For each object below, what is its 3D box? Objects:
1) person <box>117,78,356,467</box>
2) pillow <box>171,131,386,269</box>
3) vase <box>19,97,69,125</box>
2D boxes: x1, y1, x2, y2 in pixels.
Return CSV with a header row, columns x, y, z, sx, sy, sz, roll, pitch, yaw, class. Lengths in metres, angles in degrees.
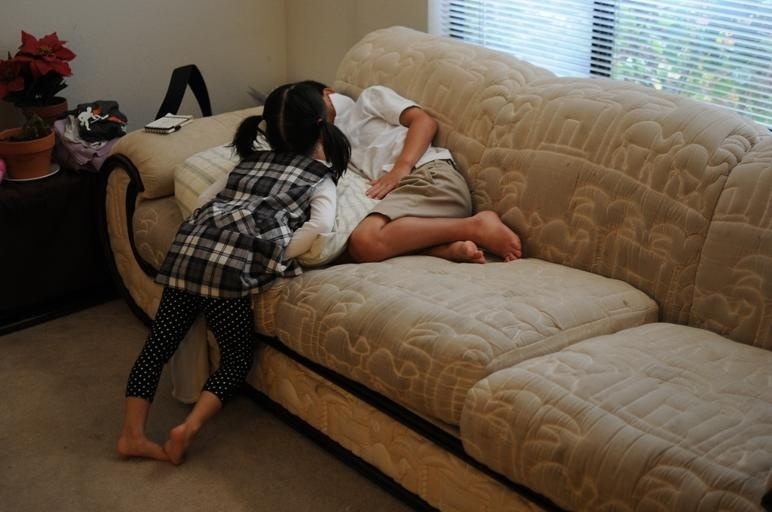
x,y,z,sx,sy,sz,roll,pitch,yaw,class
-0.514,0.011,2.034,0.540,1.434,0.524,13,-10,1,person
-0.438,-0.241,2.081,0.646,0.198,0.506,34,50,20,pillow
-1.618,-0.710,2.608,0.173,0.127,0.177,14,21,41,vase
